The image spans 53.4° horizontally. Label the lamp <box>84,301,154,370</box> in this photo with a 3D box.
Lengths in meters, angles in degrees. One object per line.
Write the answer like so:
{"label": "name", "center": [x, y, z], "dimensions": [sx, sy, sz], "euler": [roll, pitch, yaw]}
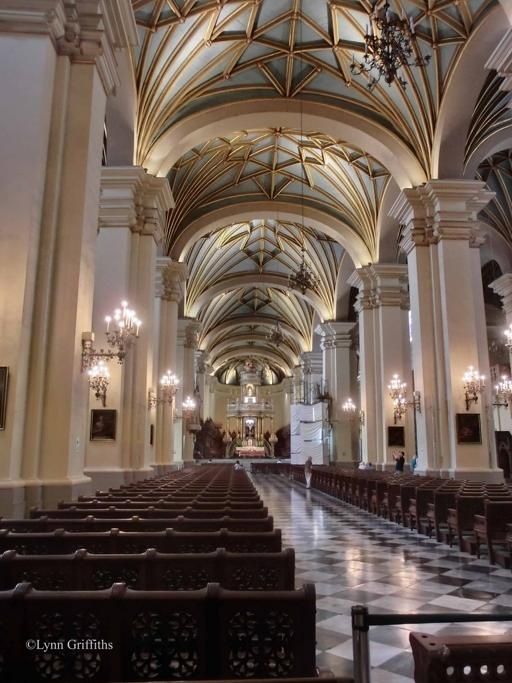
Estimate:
{"label": "lamp", "center": [-2.122, 0.000, 7.368], "dimensions": [0.727, 0.998, 0.422], "euler": [4, -15, -19]}

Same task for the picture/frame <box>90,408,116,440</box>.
{"label": "picture/frame", "center": [-3.052, 1.645, 10.153], "dimensions": [0.626, 0.781, 0.082], "euler": [0, -2, -1]}

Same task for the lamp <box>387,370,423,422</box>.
{"label": "lamp", "center": [4.498, 1.738, 15.425], "dimensions": [0.802, 0.468, 1.526], "euler": [-3, -57, 22]}

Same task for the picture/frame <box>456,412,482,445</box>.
{"label": "picture/frame", "center": [4.930, 2.062, 11.786], "dimensions": [0.648, 0.873, 0.088], "euler": [2, -17, 1]}

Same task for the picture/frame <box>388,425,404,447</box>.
{"label": "picture/frame", "center": [4.413, 3.049, 16.132], "dimensions": [0.630, 0.766, 0.105], "euler": [1, -11, -1]}

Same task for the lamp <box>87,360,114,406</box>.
{"label": "lamp", "center": [-2.573, 0.737, 8.388], "dimensions": [0.300, 0.205, 0.641], "euler": [2, -53, -22]}

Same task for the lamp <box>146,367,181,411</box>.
{"label": "lamp", "center": [-2.739, 1.373, 14.707], "dimensions": [1.111, 1.721, 0.845], "euler": [-2, -4, 18]}
